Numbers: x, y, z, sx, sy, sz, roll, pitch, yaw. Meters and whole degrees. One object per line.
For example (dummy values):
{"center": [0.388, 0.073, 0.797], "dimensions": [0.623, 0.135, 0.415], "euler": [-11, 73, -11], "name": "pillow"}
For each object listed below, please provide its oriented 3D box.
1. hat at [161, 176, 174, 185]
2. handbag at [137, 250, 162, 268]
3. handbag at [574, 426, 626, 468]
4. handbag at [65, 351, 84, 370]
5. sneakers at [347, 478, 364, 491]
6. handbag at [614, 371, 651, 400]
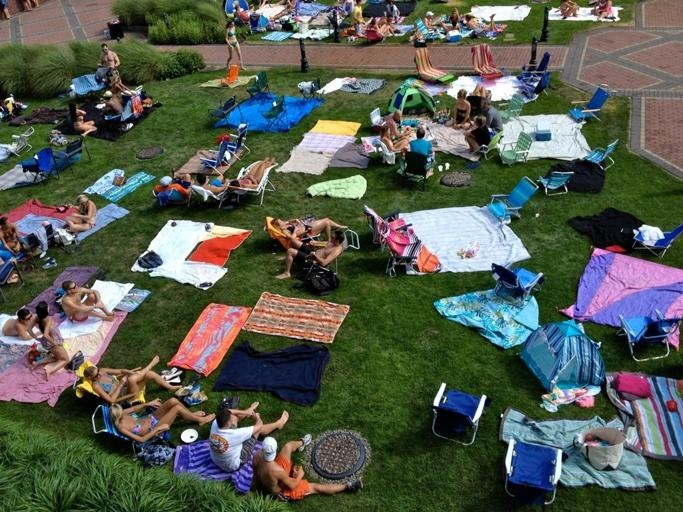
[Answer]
{"center": [-5.966, -2.575, 19.338], "dimensions": [0.348, 0.309, 0.406], "euler": [5, 30, -1], "name": "hat"}
{"center": [-5.834, 0.074, 17.273], "dimensions": [0.615, 0.219, 0.532], "euler": [8, 49, -11], "name": "handbag"}
{"center": [5.692, 4.152, 12.516], "dimensions": [1.021, 0.673, 0.945], "euler": [10, 38, 37], "name": "handbag"}
{"center": [-6.911, 2.731, 14.871], "dimensions": [0.373, 0.208, 0.524], "euler": [38, 79, -4], "name": "handbag"}
{"center": [0.290, 5.043, 12.463], "dimensions": [0.407, 0.140, 0.184], "euler": [-11, -2, 32], "name": "sneakers"}
{"center": [6.906, 3.084, 13.569], "dimensions": [0.801, 0.328, 0.539], "euler": [0, 37, 6], "name": "handbag"}
